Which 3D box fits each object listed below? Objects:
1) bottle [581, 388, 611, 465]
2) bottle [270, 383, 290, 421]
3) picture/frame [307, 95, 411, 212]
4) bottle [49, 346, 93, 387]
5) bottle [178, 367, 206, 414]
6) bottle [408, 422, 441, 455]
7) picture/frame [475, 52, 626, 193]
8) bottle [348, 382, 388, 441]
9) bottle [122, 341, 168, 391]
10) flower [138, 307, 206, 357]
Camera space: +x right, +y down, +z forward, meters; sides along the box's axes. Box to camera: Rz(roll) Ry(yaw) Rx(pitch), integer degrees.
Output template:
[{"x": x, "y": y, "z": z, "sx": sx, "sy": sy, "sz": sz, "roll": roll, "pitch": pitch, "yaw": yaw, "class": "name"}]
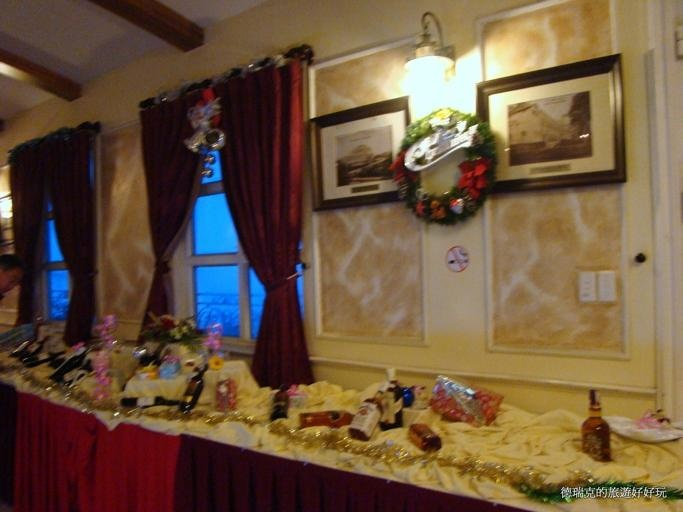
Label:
[{"x": 1.237, "y": 0.814, "z": 2.595, "sx": 0.135, "sy": 0.352, "sz": 0.251, "roll": -4, "pitch": -6, "yaw": 26, "class": "bottle"}, {"x": -0.372, "y": 0.902, "z": 3.203, "sx": 0.120, "sy": 0.207, "sz": 0.112, "roll": 3, "pitch": -36, "yaw": 2, "class": "bottle"}, {"x": 0.139, "y": -0.676, "z": 3.545, "sx": 0.814, "sy": 0.678, "sz": 0.065, "roll": -2, "pitch": -1, "yaw": 33, "class": "picture/frame"}, {"x": -1.929, "y": 0.768, "z": 3.766, "sx": 0.104, "sy": 0.109, "sz": 0.406, "roll": 29, "pitch": 1, "yaw": -13, "class": "bottle"}, {"x": -0.892, "y": 0.806, "z": 3.174, "sx": 0.111, "sy": 0.183, "sz": 0.042, "roll": -4, "pitch": -33, "yaw": 33, "class": "bottle"}, {"x": 0.425, "y": 0.935, "z": 2.730, "sx": 0.103, "sy": 0.065, "sz": 0.134, "roll": -5, "pitch": 8, "yaw": -24, "class": "bottle"}, {"x": 1.230, "y": -0.746, "z": 3.048, "sx": 0.837, "sy": 0.787, "sz": 0.058, "roll": -2, "pitch": -1, "yaw": 28, "class": "picture/frame"}, {"x": 0.148, "y": 0.870, "z": 2.942, "sx": 0.080, "sy": 0.079, "sz": 0.269, "roll": 2, "pitch": 31, "yaw": 26, "class": "bottle"}, {"x": -1.229, "y": 0.730, "z": 3.469, "sx": 0.200, "sy": 0.321, "sz": 0.315, "roll": 25, "pitch": -36, "yaw": -33, "class": "bottle"}, {"x": -1.071, "y": 0.494, "z": 3.538, "sx": 0.314, "sy": 0.169, "sz": 0.315, "roll": 1, "pitch": -5, "yaw": 9, "class": "flower"}]
